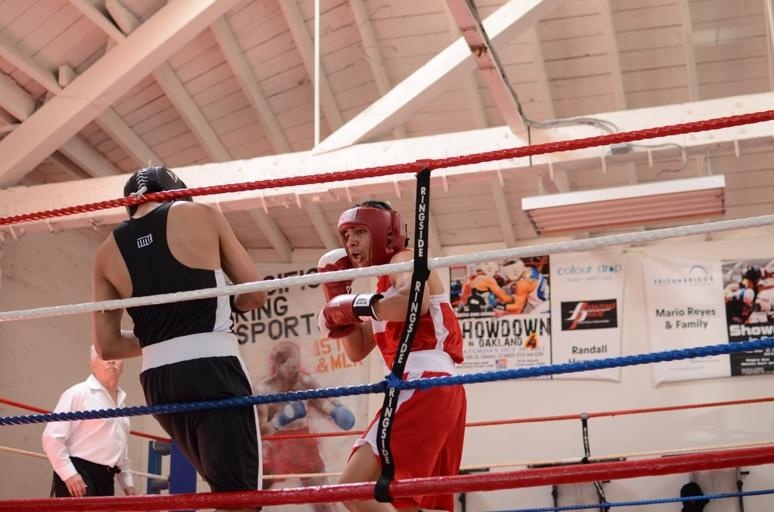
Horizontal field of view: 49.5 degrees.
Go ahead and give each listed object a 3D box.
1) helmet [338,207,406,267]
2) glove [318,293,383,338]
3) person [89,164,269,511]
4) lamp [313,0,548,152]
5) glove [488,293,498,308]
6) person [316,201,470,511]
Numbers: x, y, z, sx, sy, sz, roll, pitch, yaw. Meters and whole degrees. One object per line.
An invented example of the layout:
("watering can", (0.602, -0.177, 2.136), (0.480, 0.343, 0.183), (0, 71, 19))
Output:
("helmet", (-0.059, -0.121, 5.280), (0.423, 0.331, 0.350), (-8, -7, -27))
("glove", (-0.202, 0.355, 4.857), (0.361, 0.143, 0.251), (-13, -27, 15))
("person", (-1.149, 0.437, 4.640), (0.960, 1.969, 0.492), (-3, -15, -5))
("lamp", (0.432, -1.721, 7.779), (3.105, 0.337, 0.443), (-33, -44, 29))
("glove", (1.212, 0.518, 9.485), (0.107, 0.128, 0.065), (3, -5, 30))
("person", (0.042, 0.554, 4.914), (0.838, 1.918, 0.733), (-4, -15, -3))
